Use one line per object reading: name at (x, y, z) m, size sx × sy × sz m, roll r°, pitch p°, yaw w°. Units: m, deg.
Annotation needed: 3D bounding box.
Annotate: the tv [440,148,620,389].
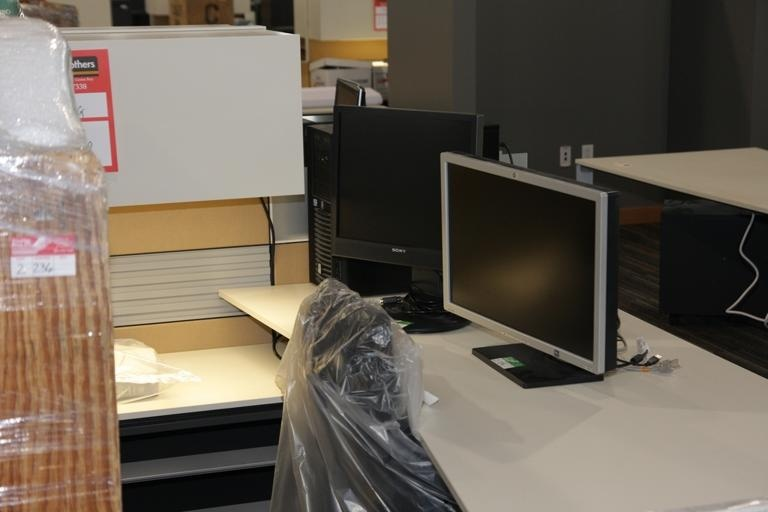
tv at (0.404, 0.060, 1.701) m, size 0.191 × 0.480 × 0.649 m, roll -7°, pitch 13°, yaw -38°
